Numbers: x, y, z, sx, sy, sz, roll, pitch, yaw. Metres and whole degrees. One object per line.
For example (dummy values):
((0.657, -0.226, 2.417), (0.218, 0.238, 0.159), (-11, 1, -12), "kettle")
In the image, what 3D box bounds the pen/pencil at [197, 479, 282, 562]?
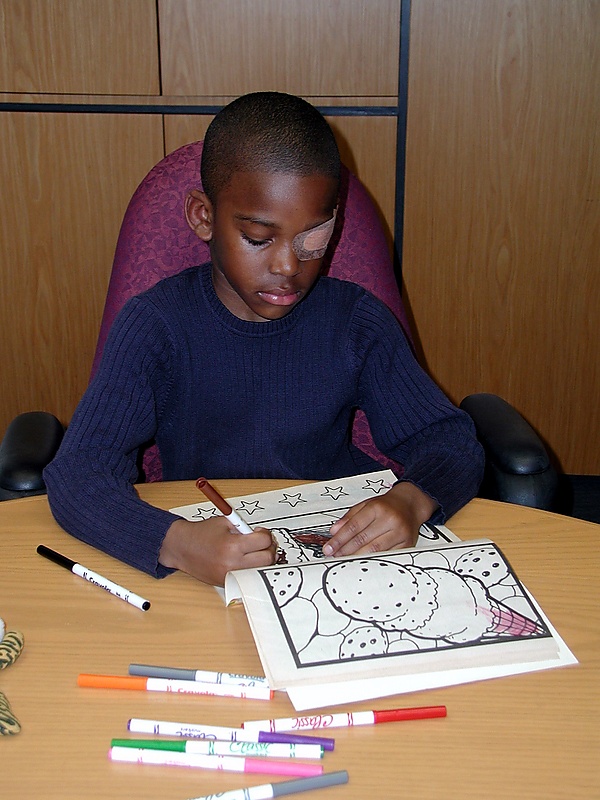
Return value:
((-0.058, 0.115, 0.666), (0.014, 0.098, 0.013), (-35, 37, 7), "pen/pencil")

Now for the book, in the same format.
((0.058, 0.138, 0.489), (0.142, 0.018, 0.173), (-7, 29, -17), "book")
